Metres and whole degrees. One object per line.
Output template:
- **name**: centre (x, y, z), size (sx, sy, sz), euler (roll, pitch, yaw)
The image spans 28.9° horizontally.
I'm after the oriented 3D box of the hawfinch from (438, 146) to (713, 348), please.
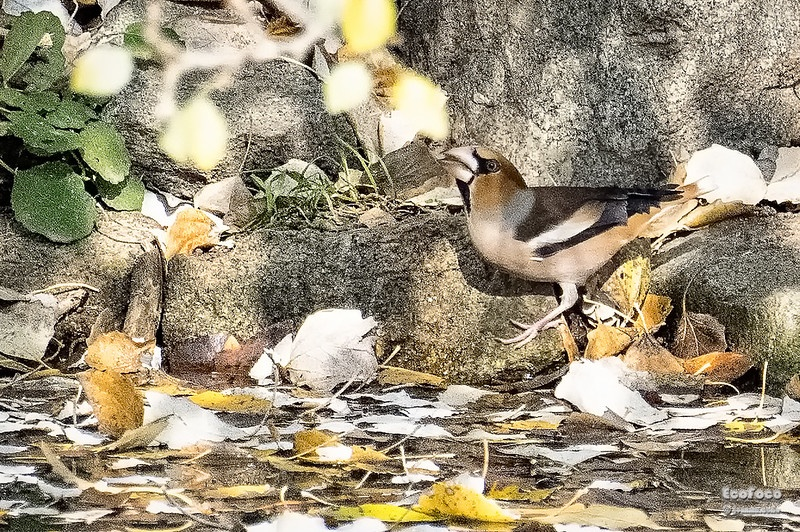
- **hawfinch**: centre (0.323, -0.097, 3.443), size (0.819, 0.411, 0.283), euler (-8, 23, -36)
